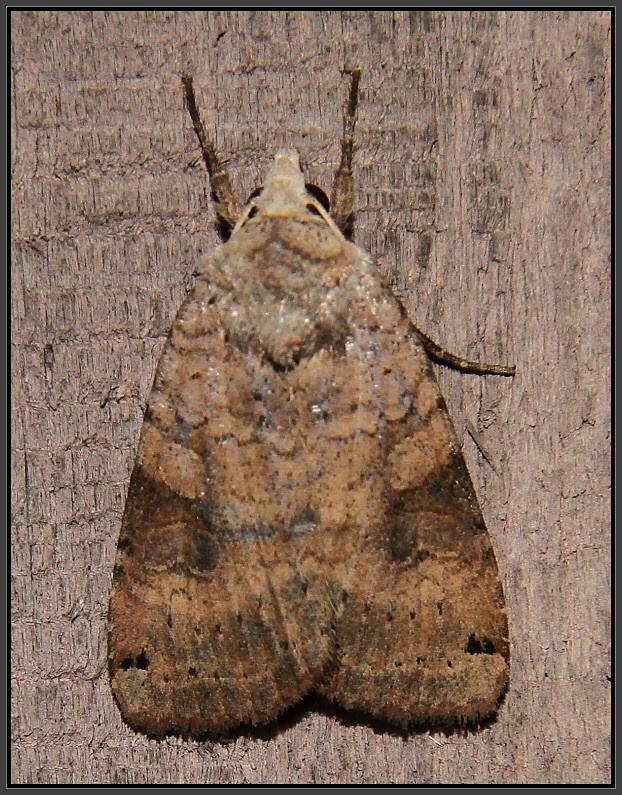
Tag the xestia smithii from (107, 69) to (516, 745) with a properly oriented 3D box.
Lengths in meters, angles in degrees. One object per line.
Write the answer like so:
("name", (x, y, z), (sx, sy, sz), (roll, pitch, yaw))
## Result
("xestia smithii", (-0.026, 0.044, 6.175), (1.040, 0.460, 1.988), (-3, 91, 4))
